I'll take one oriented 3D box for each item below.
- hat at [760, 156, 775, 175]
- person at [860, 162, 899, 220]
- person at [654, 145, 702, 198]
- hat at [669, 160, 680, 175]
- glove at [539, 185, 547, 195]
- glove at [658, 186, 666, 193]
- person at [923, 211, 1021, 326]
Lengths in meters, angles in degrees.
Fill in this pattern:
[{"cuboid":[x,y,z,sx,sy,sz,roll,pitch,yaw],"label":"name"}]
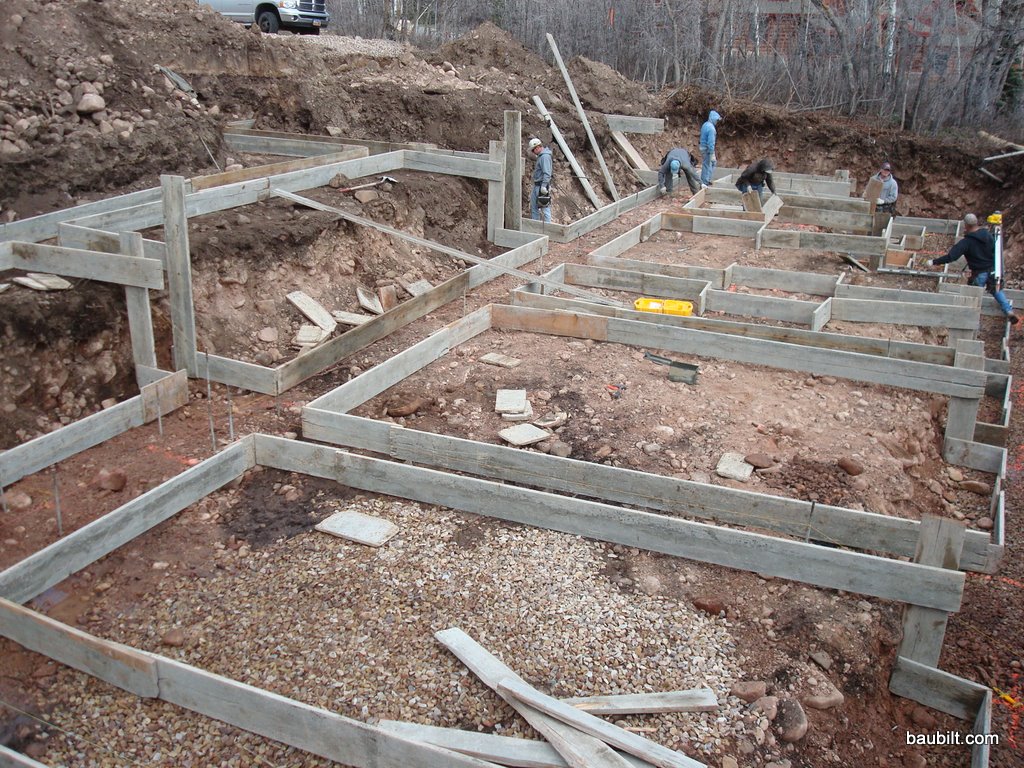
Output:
[{"cuboid":[5.226,-4.387,15.537,0.269,0.548,0.399,4,59,14],"label":"hat"},{"cuboid":[7.620,-3.764,15.734,0.671,1.334,0.518,9,26,21],"label":"person"},{"cuboid":[3.733,-4.904,17.112,1.081,0.613,1.615,4,43,15],"label":"person"},{"cuboid":[3.574,-4.808,16.629,0.193,0.195,0.116,1,1,26],"label":"hat"},{"cuboid":[0.521,-3.375,13.213,0.131,0.105,0.115,6,13,-3],"label":"glove"},{"cuboid":[3.417,-4.439,17.270,0.227,0.120,0.113,3,8,18],"label":"glove"},{"cuboid":[7.332,-1.733,11.836,1.324,1.331,0.755,17,31,21],"label":"person"}]
